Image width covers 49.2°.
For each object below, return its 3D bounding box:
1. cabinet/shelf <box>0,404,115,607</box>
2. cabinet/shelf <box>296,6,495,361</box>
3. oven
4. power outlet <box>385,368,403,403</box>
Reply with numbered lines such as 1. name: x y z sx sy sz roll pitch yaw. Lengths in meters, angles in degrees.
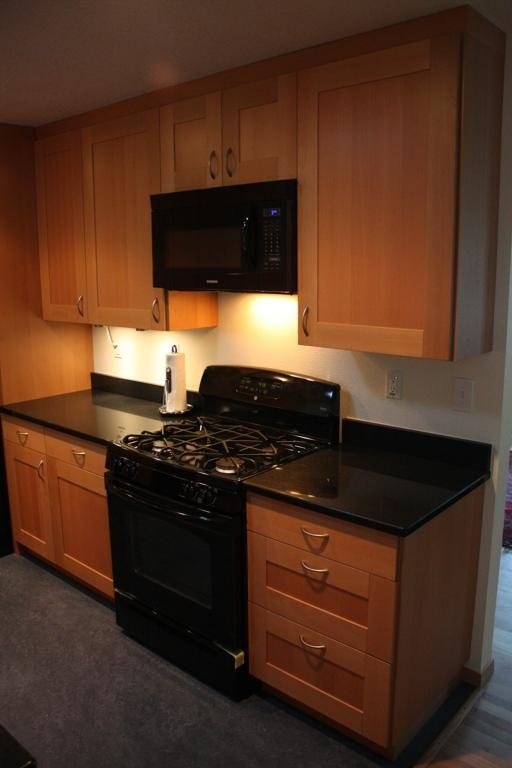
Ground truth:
1. cabinet/shelf: -0.909 0.552 2.579 0.632 0.678 0.262 10 13 42
2. cabinet/shelf: 0.410 -0.529 1.570 0.588 0.898 0.420 0 7 6
3. oven: -0.233 0.575 2.016 0.588 0.720 0.408 7 10 41
4. power outlet: 0.485 0.000 1.937 0.014 0.164 0.078 -10 15 -40
